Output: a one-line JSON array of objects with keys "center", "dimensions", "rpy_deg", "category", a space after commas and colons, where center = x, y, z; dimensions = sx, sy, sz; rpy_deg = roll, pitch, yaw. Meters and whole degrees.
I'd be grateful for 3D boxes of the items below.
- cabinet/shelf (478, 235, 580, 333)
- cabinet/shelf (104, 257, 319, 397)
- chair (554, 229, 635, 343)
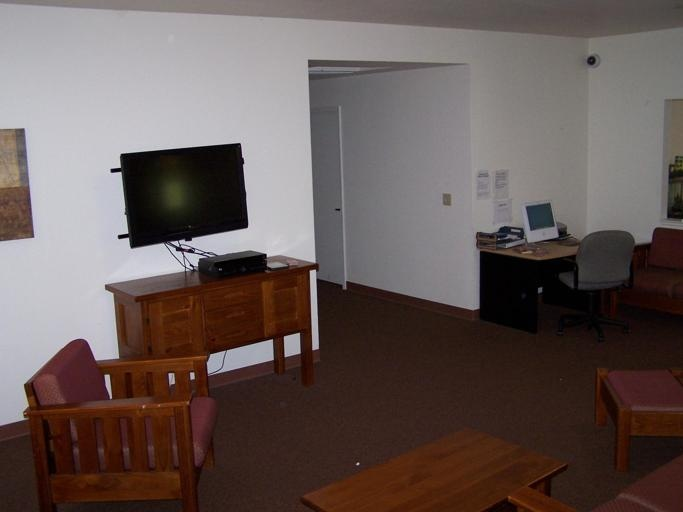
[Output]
[{"center": [2.172, 0.232, 6.342], "dimensions": [0.869, 0.970, 1.543], "rpy_deg": [10, 16, 42], "category": "cabinet/shelf"}, {"center": [-1.055, 0.707, 4.756], "dimensions": [0.639, 1.184, 1.757], "rpy_deg": [6, 11, 44], "category": "cabinet/shelf"}, {"center": [2.732, 0.255, 5.853], "dimensions": [0.838, 1.146, 0.520], "rpy_deg": [-9, 15, -29], "category": "chair"}]
